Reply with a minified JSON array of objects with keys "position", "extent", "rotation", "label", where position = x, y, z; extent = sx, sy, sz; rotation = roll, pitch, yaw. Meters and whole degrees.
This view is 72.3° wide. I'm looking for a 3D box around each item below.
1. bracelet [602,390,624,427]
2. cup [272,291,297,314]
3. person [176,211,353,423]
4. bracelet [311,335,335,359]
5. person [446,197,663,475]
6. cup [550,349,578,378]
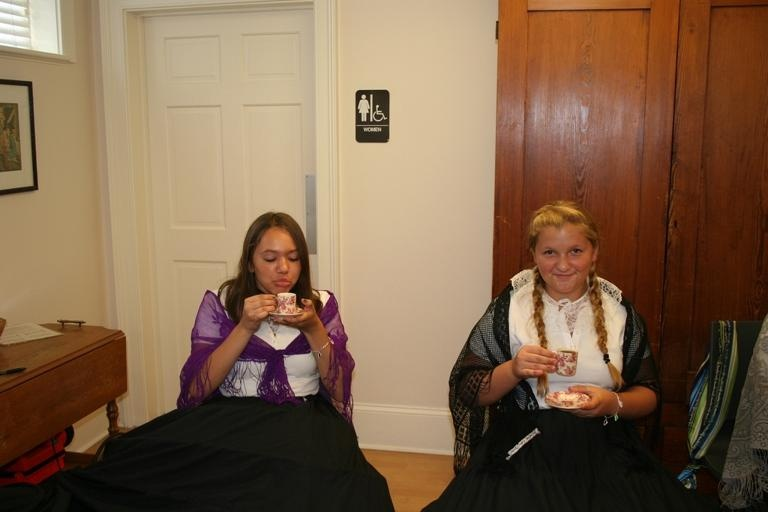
[{"position":[0.927,0.624,2.116],"extent":[0.054,0.133,0.106],"rotation":[19,21,23],"label":"bracelet"},{"position":[-0.428,0.204,2.257],"extent":[0.097,0.069,0.071],"rotation":[-2,10,-11],"label":"cup"},{"position":[-0.549,0.310,2.476],"extent":[0.788,0.997,0.419],"rotation":[-1,12,1],"label":"person"},{"position":[-0.282,0.426,2.463],"extent":[0.095,0.082,0.030],"rotation":[-46,19,0],"label":"bracelet"},{"position":[0.721,0.380,2.253],"extent":[0.860,1.185,0.460],"rotation":[3,12,18],"label":"person"},{"position":[0.715,0.424,2.075],"extent":[0.116,0.097,0.073],"rotation":[1,5,17],"label":"cup"}]
